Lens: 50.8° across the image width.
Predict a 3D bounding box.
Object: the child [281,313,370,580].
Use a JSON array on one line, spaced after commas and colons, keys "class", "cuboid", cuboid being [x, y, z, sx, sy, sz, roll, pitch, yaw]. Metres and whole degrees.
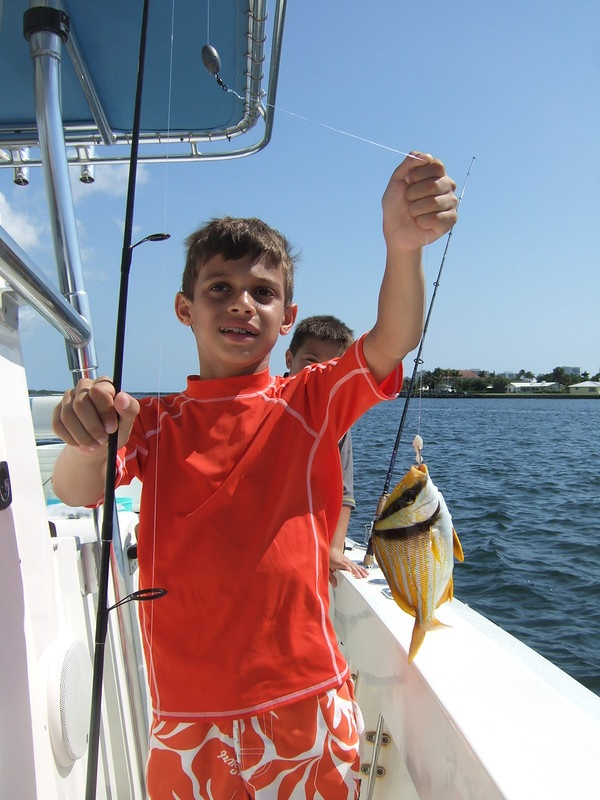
[{"class": "child", "cuboid": [0.075, 0.127, 2.975, 0.443, 1.387, 0.407, -6, -23, 27]}]
